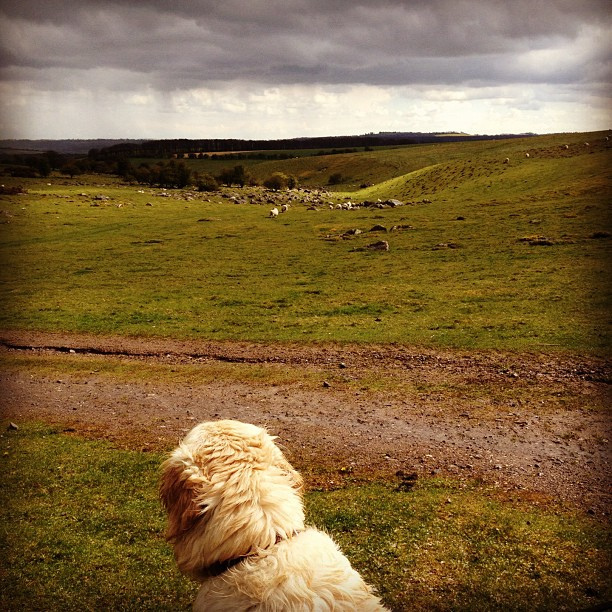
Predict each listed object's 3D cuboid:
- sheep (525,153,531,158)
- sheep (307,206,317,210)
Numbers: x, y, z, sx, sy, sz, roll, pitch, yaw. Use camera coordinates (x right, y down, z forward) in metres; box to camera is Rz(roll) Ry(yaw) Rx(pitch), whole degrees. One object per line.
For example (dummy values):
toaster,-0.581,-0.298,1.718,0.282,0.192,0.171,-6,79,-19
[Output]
sheep,31.175,-21.037,88.854,0.674,0.803,1.900,1,20,15
sheep,0.779,-13.273,86.465,1.961,0.585,1.655,-1,4,-3
